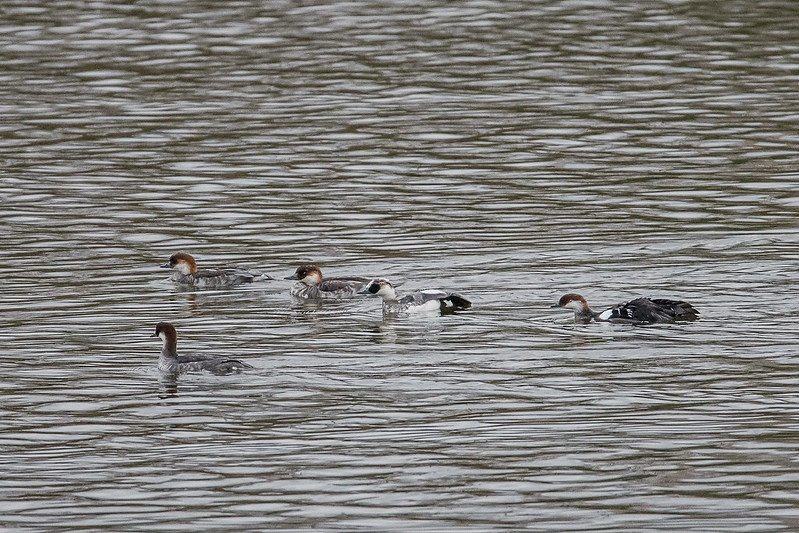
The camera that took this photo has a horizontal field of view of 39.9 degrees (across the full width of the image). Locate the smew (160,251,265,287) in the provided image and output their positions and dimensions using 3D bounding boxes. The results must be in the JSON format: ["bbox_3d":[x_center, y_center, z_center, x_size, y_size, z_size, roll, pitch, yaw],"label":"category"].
[{"bbox_3d":[-4.505,0.213,26.025,2.404,1.259,0.796,19,77,4],"label":"smew"}]
